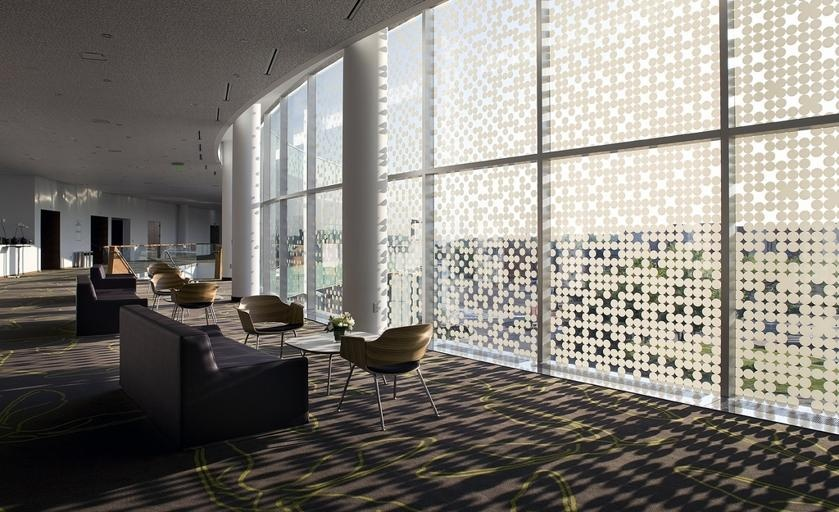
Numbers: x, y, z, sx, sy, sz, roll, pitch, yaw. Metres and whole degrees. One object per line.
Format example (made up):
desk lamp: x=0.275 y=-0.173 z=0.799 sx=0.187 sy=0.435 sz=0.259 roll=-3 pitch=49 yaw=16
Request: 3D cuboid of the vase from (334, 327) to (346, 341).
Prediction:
vase: x=-1.170 y=1.132 z=7.132 sx=0.223 sy=0.171 sz=0.200 roll=1 pitch=-6 yaw=18

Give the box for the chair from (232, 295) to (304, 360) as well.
chair: x=-2.314 y=1.084 z=8.459 sx=1.333 sy=1.289 sz=1.007 roll=1 pitch=-7 yaw=-30

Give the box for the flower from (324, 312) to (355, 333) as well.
flower: x=-1.286 y=1.089 z=8.064 sx=0.581 sy=0.369 sz=0.586 roll=9 pitch=-11 yaw=-41

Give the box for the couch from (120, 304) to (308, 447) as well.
couch: x=-2.458 y=0.839 z=6.132 sx=1.511 sy=1.075 sz=2.704 roll=-2 pitch=5 yaw=-37
